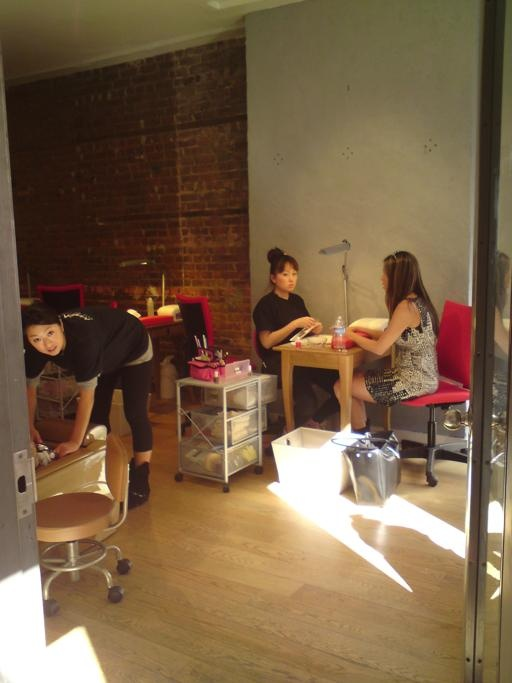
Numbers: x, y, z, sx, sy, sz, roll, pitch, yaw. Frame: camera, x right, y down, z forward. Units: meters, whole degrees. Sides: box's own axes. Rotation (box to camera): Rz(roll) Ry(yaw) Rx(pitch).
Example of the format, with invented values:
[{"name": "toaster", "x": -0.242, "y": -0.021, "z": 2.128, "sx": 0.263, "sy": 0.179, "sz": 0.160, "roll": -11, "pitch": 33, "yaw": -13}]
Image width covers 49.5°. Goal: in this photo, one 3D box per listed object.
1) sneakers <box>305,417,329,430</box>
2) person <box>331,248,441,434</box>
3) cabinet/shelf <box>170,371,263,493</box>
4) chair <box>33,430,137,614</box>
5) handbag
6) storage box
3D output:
[{"name": "sneakers", "x": 0.435, "y": 0.598, "z": 4.019, "sx": 0.150, "sy": 0.093, "sz": 0.150, "roll": -21, "pitch": -9, "yaw": 16}, {"name": "person", "x": 0.811, "y": 0.038, "z": 3.479, "sx": 0.635, "sy": 1.170, "sz": 0.468, "roll": 1, "pitch": 7, "yaw": 18}, {"name": "cabinet/shelf", "x": -0.237, "y": 0.530, "z": 3.420, "sx": 0.438, "sy": 0.637, "sz": 0.527, "roll": 3, "pitch": 7, "yaw": 29}, {"name": "chair", "x": -0.702, "y": 0.675, "z": 2.127, "sx": 0.412, "sy": 0.562, "sz": 0.396, "roll": -4, "pitch": 7, "yaw": -20}, {"name": "handbag", "x": 0.649, "y": 0.697, "z": 3.053, "sx": 0.231, "sy": 0.361, "sz": 0.377, "roll": 3, "pitch": 7, "yaw": 32}, {"name": "storage box", "x": -0.151, "y": 0.522, "z": 3.389, "sx": 0.346, "sy": 0.568, "sz": 0.617, "roll": 1, "pitch": 5, "yaw": 23}]
